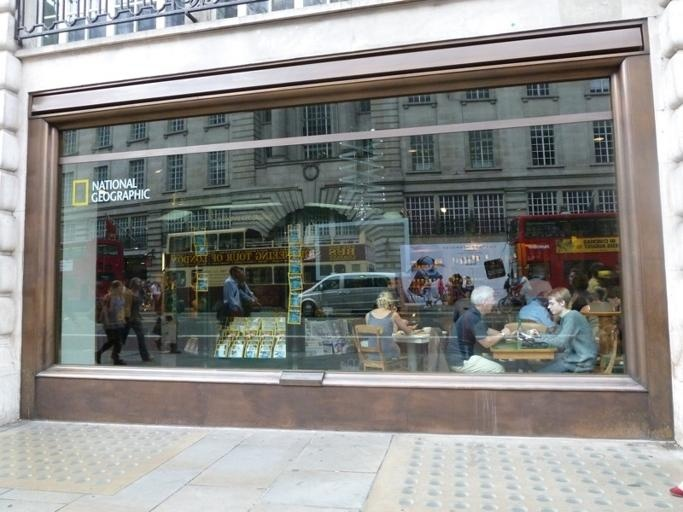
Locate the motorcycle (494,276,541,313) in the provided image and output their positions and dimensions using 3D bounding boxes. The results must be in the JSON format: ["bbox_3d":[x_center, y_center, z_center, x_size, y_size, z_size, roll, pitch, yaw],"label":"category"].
[{"bbox_3d":[2.587,0.522,10.530,0.337,0.463,0.803,-7,2,-41],"label":"motorcycle"}]

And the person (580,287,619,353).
[{"bbox_3d":[3.183,0.778,9.109,0.185,0.781,0.545,-1,-1,-17],"label":"person"}]

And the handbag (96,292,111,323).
[{"bbox_3d":[-3.409,0.701,10.541,0.128,0.333,0.255,7,-1,-16],"label":"handbag"}]

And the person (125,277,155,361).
[{"bbox_3d":[-2.928,0.811,10.541,0.323,1.052,0.781,-1,-1,-16],"label":"person"}]

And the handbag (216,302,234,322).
[{"bbox_3d":[-1.831,0.851,11.618,0.269,0.298,0.283,-1,-1,-10],"label":"handbag"}]

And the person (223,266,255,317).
[{"bbox_3d":[-1.638,0.540,11.926,0.516,0.764,0.664,-1,-1,3],"label":"person"}]

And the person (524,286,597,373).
[{"bbox_3d":[2.819,1.002,9.197,1.015,1.317,0.672,-5,-31,29],"label":"person"}]

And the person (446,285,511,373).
[{"bbox_3d":[1.809,1.054,9.757,0.900,1.235,0.711,1,7,2],"label":"person"}]
